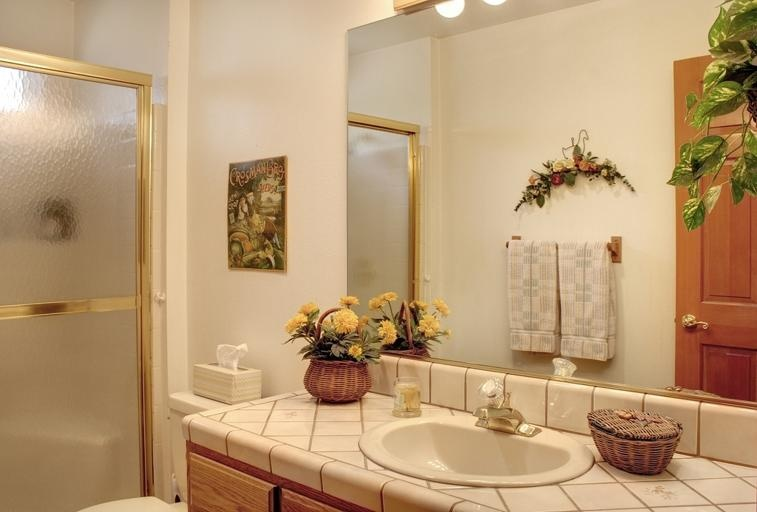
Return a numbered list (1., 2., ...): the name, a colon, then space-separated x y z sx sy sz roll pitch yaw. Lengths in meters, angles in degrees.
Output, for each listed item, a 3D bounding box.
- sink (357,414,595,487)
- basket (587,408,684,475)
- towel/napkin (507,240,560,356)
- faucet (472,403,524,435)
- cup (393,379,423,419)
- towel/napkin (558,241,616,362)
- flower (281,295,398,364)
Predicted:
1. sink: 0.293 0.641 1.618 0.698 0.139 0.407 -1 8 -4
2. basket: 0.724 0.519 1.521 0.177 0.099 0.191 3 -6 -1
3. towel/napkin: 0.544 0.140 1.842 0.177 0.388 0.053 0 0 35
4. faucet: 0.397 0.524 1.713 0.116 0.039 0.084 0 -2 42
5. cup: 0.102 0.499 1.847 0.116 0.130 0.122 1 -5 0
6. towel/napkin: 0.701 0.150 1.748 0.077 0.395 0.183 0 -1 -34
7. flower: -0.159 0.303 2.028 0.304 0.181 0.316 6 -6 -16
